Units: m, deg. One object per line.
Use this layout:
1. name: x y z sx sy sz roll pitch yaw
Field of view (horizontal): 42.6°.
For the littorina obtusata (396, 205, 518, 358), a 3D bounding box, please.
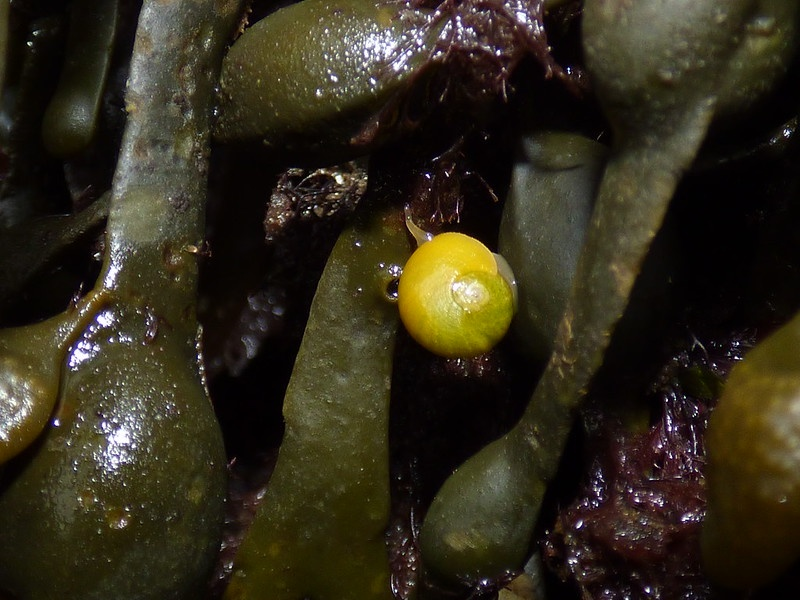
1. littorina obtusata: 0.076 -0.008 1.396 0.146 0.086 0.146 -31 58 -20
